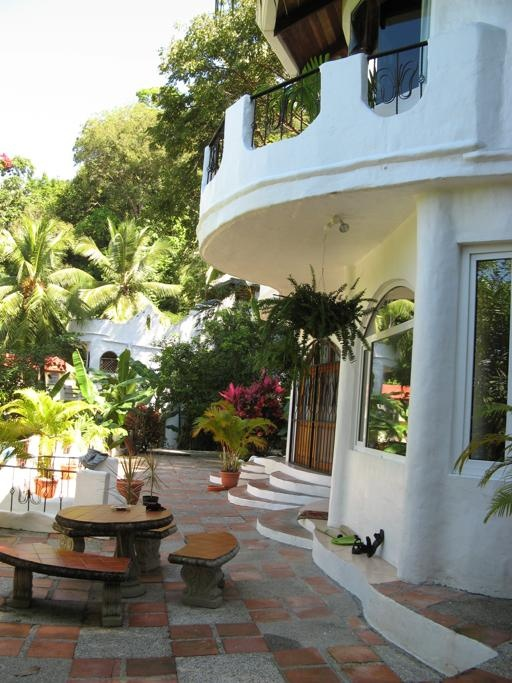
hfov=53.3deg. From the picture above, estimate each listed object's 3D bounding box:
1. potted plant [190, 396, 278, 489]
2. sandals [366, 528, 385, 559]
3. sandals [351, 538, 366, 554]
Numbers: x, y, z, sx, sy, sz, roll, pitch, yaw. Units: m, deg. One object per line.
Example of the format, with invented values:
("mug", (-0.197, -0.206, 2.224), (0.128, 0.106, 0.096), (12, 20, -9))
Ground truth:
("potted plant", (-0.571, 2.203, 10.623), (1.556, 1.580, 1.527), (-14, -18, 29))
("sandals", (1.096, 1.850, 4.754), (0.156, 0.246, 0.280), (6, -4, 6))
("sandals", (0.955, 1.913, 4.768), (0.091, 0.124, 0.126), (1, -17, -2))
